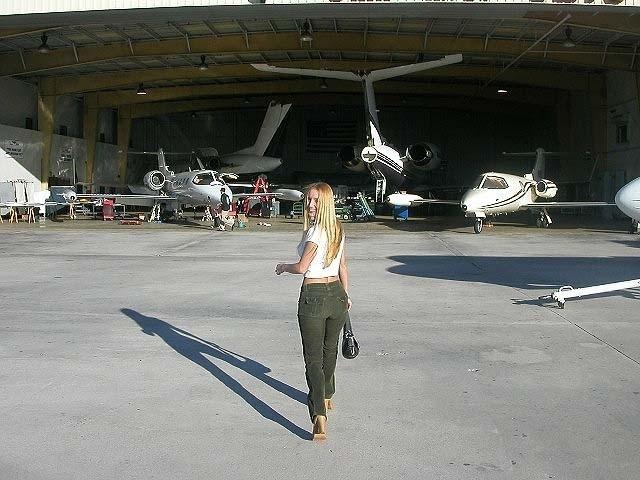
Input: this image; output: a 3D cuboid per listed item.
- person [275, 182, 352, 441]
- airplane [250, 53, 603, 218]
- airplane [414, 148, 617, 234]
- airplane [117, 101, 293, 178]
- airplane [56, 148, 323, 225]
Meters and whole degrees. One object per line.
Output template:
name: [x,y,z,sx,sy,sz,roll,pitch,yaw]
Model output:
person: [-0.042,0.554,4.890,0.454,2.002,0.529,2,8,17]
airplane: [4.786,-3.744,26.359,12.394,3.005,12.354,3,3,36]
airplane: [8.496,-1.837,25.161,6.662,2.067,6.423,1,3,37]
airplane: [-8.337,-5.747,41.463,10.647,2.769,9.712,3,8,32]
airplane: [-5.737,-2.259,28.712,8.106,2.491,7.957,-3,2,-27]
